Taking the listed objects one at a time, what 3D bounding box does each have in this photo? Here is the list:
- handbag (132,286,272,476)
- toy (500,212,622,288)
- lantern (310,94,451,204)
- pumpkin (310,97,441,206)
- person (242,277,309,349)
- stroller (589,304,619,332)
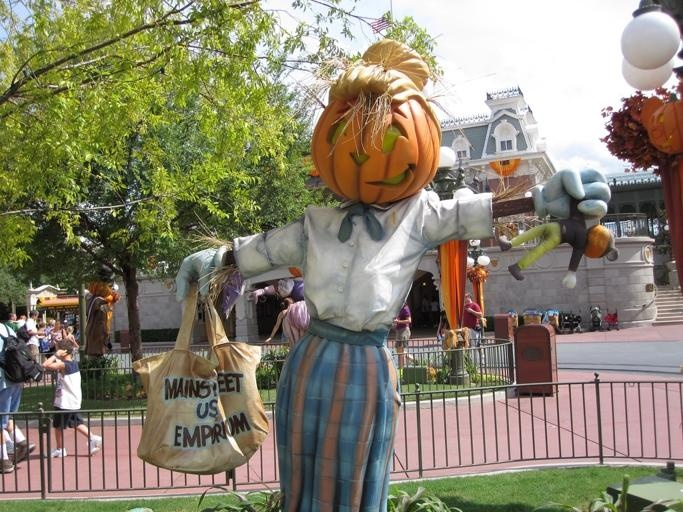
[{"bbox_3d":[-1.301,1.377,6.697,0.946,2.146,1.154,3,4,20],"label":"handbag"},{"bbox_3d":[2.029,-0.102,6.213,0.838,0.731,0.913,5,1,31],"label":"toy"},{"bbox_3d":[0.358,-0.891,6.356,0.857,1.077,0.998,4,4,20],"label":"lantern"},{"bbox_3d":[0.350,-0.866,6.338,0.867,1.067,0.999,3,4,18],"label":"pumpkin"},{"bbox_3d":[-0.753,0.739,9.797,0.859,1.362,0.818,4,5,40],"label":"person"},{"bbox_3d":[11.334,2.606,29.400,1.002,1.248,1.281,4,-8,-41],"label":"stroller"}]
